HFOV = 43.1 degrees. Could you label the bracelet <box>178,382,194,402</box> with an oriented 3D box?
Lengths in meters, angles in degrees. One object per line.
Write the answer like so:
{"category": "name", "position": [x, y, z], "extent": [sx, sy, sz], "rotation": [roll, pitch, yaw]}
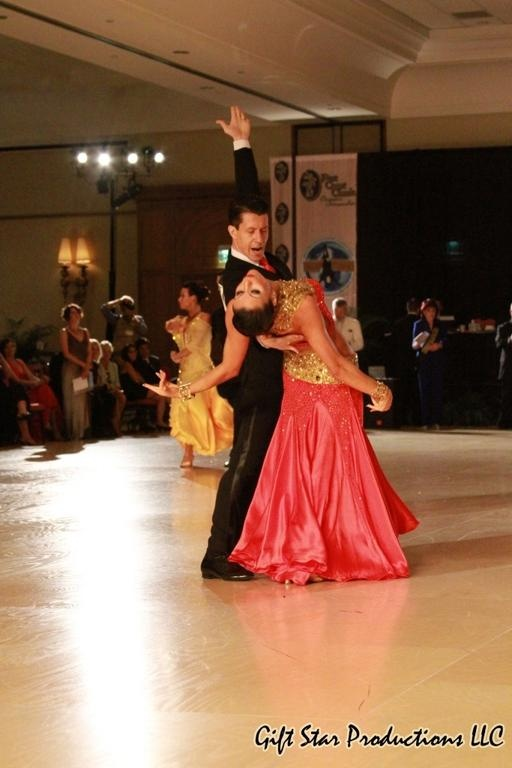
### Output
{"category": "bracelet", "position": [-0.291, 0.033, 2.702], "extent": [0.100, 0.085, 0.087], "rotation": [1, 1, 4]}

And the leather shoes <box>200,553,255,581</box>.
{"category": "leather shoes", "position": [-0.134, 0.761, 2.717], "extent": [0.256, 0.111, 0.086], "rotation": [-1, 2, 28]}

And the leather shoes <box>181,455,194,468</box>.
{"category": "leather shoes", "position": [-0.675, 0.772, 6.413], "extent": [0.129, 0.160, 0.101], "rotation": [8, -20, -3]}

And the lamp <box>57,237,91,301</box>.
{"category": "lamp", "position": [-3.836, -2.388, 13.752], "extent": [0.758, 1.426, 0.288], "rotation": [0, -5, 18]}

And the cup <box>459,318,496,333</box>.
{"category": "cup", "position": [3.825, -0.978, 11.214], "extent": [0.357, 0.142, 0.448], "rotation": [0, -2, 5]}

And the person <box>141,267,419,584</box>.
{"category": "person", "position": [0.264, 0.197, 2.583], "extent": [0.716, 1.181, 0.493], "rotation": [1, -5, -2]}

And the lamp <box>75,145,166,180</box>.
{"category": "lamp", "position": [-2.726, -4.423, 12.869], "extent": [1.466, 0.465, 0.869], "rotation": [-3, 12, -11]}
